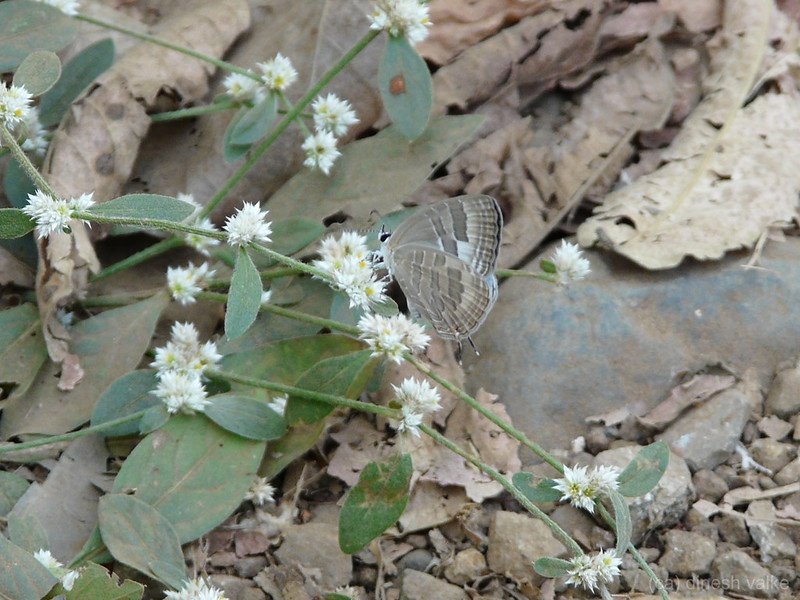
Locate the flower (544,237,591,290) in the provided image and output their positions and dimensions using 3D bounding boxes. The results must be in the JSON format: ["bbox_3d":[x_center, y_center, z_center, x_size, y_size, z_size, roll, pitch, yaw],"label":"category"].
[{"bbox_3d":[0.583,-0.120,3.619,0.159,0.170,0.178,38,97,3],"label":"flower"}]

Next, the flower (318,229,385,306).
[{"bbox_3d":[-0.161,-0.110,3.406,0.134,0.238,0.244,-27,75,7],"label":"flower"}]

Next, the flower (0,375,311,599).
[{"bbox_3d":[-0.744,0.650,3.309,0.442,0.337,0.900,36,72,23],"label":"flower"}]

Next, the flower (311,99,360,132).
[{"bbox_3d":[-0.245,-0.684,3.850,0.142,0.087,0.145,18,61,-9],"label":"flower"}]

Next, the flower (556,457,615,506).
[{"bbox_3d":[0.578,0.573,3.314,0.151,0.132,0.089,2,96,-25],"label":"flower"}]

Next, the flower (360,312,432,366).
[{"bbox_3d":[-0.017,0.108,3.334,0.176,0.177,0.112,26,102,-10],"label":"flower"}]

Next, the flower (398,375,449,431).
[{"bbox_3d":[0.038,0.326,3.343,0.152,0.096,0.136,-34,63,-12],"label":"flower"}]

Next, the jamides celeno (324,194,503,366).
[{"bbox_3d":[0.123,-0.146,3.668,0.493,0.501,0.324,39,112,0],"label":"jamides celeno"}]
